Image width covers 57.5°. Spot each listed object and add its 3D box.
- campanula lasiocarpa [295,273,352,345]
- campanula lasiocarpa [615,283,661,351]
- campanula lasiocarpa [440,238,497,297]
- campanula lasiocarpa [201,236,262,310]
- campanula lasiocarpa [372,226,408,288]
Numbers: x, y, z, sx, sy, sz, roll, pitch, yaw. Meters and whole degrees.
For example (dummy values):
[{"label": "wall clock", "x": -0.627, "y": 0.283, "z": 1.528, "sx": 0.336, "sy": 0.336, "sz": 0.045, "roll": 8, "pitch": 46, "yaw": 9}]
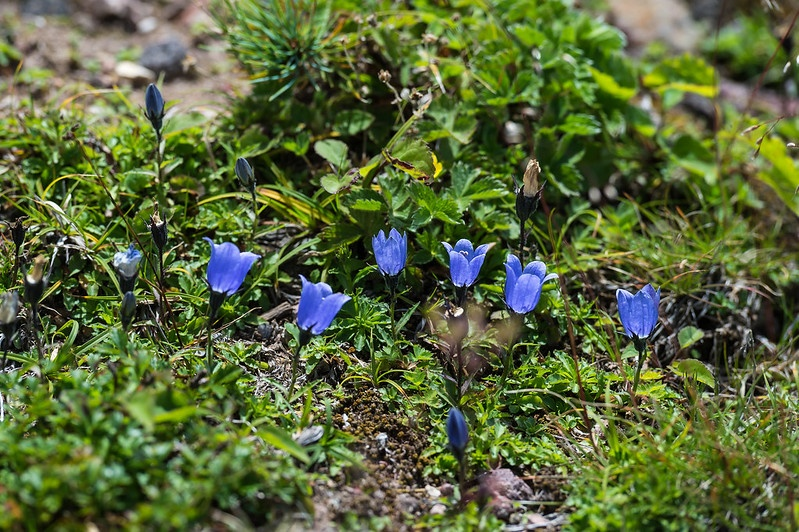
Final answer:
[{"label": "campanula lasiocarpa", "x": -0.383, "y": 0.199, "z": 3.550, "sx": 0.240, "sy": 0.278, "sz": 0.276, "roll": 29, "pitch": 92, "yaw": 2}, {"label": "campanula lasiocarpa", "x": 1.193, "y": 0.261, "z": 3.657, "sx": 0.203, "sy": 0.215, "sz": 0.323, "roll": 4, "pitch": 73, "yaw": -48}, {"label": "campanula lasiocarpa", "x": 0.355, "y": 0.003, "z": 3.694, "sx": 0.233, "sy": 0.219, "sz": 0.230, "roll": 12, "pitch": 86, "yaw": 31}, {"label": "campanula lasiocarpa", "x": -0.828, "y": 0.011, "z": 3.601, "sx": 0.295, "sy": 0.292, "sz": 0.306, "roll": 24, "pitch": 90, "yaw": -34}, {"label": "campanula lasiocarpa", "x": -0.031, "y": -0.067, "z": 3.698, "sx": 0.211, "sy": 0.243, "sz": 0.394, "roll": 3, "pitch": 116, "yaw": 4}]
